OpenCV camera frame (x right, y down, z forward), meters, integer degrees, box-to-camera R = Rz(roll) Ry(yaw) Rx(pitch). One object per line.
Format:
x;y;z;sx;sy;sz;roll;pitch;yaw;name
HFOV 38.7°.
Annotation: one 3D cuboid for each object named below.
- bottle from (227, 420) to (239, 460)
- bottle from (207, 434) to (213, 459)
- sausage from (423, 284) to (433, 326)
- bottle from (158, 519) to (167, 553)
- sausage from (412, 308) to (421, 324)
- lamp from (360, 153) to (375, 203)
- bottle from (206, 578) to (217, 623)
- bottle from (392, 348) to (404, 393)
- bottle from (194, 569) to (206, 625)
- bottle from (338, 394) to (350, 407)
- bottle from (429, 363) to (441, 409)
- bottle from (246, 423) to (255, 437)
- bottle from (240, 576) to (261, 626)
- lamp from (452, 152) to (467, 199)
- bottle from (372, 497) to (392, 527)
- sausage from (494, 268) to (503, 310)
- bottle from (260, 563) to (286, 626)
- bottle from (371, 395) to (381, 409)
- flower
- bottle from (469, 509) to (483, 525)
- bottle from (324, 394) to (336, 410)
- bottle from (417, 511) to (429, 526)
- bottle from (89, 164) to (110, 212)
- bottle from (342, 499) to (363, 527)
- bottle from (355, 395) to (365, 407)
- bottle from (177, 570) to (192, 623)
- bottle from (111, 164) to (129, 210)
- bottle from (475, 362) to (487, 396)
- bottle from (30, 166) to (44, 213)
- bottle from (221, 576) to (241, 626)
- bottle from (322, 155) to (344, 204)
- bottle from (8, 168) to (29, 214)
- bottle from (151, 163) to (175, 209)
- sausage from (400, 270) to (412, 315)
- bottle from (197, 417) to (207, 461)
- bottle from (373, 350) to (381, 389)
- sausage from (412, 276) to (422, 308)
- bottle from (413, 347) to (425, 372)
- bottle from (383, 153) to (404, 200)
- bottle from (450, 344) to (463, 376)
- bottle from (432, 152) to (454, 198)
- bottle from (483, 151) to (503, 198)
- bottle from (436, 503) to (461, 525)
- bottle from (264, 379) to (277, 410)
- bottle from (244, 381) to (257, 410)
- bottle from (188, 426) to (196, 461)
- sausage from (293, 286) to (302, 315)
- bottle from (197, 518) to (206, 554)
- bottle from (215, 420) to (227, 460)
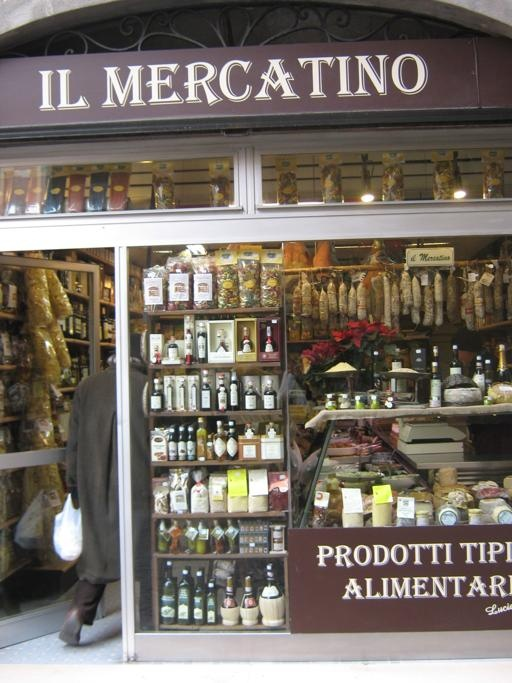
-0.127;0.535;3.946;0.067;0.212;0.030;-2;-3;-10;bottle
-0.246;0.574;3.952;0.035;0.137;0.015;-2;-3;-3;bottle
0.984;-0.209;4.186;0.068;0.235;0.067;-5;9;3;sausage
-0.499;1.055;3.935;0.062;0.172;0.019;-2;-3;-10;bottle
0.924;-0.146;4.203;0.041;0.111;0.049;-1;8;3;sausage
0.596;-0.884;3.950;0.079;0.273;0.030;-2;-3;-16;lamp
-0.233;1.397;3.895;0.058;0.215;0.064;-3;-3;7;bottle
0.755;0.162;3.935;0.073;0.252;0.146;-3;-3;10;bottle
-0.300;1.372;3.901;0.066;0.269;0.064;-3;-3;0;bottle
0.460;0.321;3.870;0.058;0.072;0.063;-1;-3;-35;bottle
0.960;0.229;3.922;0.100;0.241;0.048;0;-4;-39;bottle
-0.043;0.478;3.944;0.070;0.085;0.048;0;-15;-3;bottle
-0.036;1.383;3.864;0.097;0.250;0.046;-2;-3;-6;bottle
1.098;-0.901;3.961;0.064;0.270;0.038;-3;-3;1;lamp
0.670;0.923;3.953;0.130;0.194;0.128;-1;-4;0;bottle
1.373;-0.296;4.108;0.048;0.227;0.064;-2;8;33;sausage
0.076;1.343;3.845;0.117;0.321;0.085;-5;-4;41;bottle
0.626;0.322;3.850;0.064;0.063;0.061;2;-6;-27;bottle
0.476;0.040;3.969;0.395;0.250;0.381;-11;4;-7;flower
1.149;0.926;3.840;0.075;0.077;0.072;-1;1;-19;bottle
0.398;0.320;3.879;0.056;0.081;0.101;-3;-2;6;bottle
0.877;0.937;3.849;0.070;0.106;0.068;-2;-1;0;bottle
-0.868;-0.847;4.020;0.117;0.255;0.039;-3;-3;7;bottle
0.506;0.915;3.892;0.155;0.178;0.100;0;-16;2;bottle
0.546;0.318;3.847;0.058;0.087;0.062;0;-5;0;bottle
-0.382;1.368;3.907;0.081;0.274;0.055;-2;-3;-4;bottle
-0.743;-0.856;4.017;0.119;0.255;0.039;-2;-3;-4;bottle
1.209;0.204;3.954;0.070;0.173;0.040;-3;-3;11;bottle
-1.203;-0.842;4.043;0.076;0.256;0.020;-3;-3;1;bottle
-0.138;1.389;3.869;0.101;0.243;0.045;-2;-3;-11;bottle
0.408;-0.888;3.966;0.112;0.258;0.021;-3;-3;4;bottle
-1.313;-0.833;4.044;0.131;0.259;0.049;-3;-3;12;bottle
-0.506;-0.855;3.992;0.124;0.254;0.046;-2;-3;-7;bottle
0.846;-0.295;4.120;0.052;0.212;0.067;-2;-3;-15;sausage
-0.293;0.534;3.958;0.065;0.238;0.030;-2;-3;-5;bottle
0.649;0.155;3.931;0.036;0.203;0.024;-3;-3;15;bottle
0.905;-0.283;4.116;0.039;0.171;0.073;-4;-3;31;sausage
0.883;0.098;3.946;0.067;0.131;0.078;-3;-3;19;bottle
0.742;-0.898;3.962;0.122;0.259;0.045;-3;-3;13;bottle
1.080;0.104;3.973;0.068;0.164;0.066;-3;-3;0;bottle
1.019;-0.906;3.973;0.126;0.261;0.030;-3;-3;10;bottle
1.284;-0.912;3.968;0.123;0.261;0.044;-3;-3;10;bottle
1.023;0.923;3.889;0.104;0.093;0.103;-2;-5;6;bottle
0.074;0.290;3.951;0.072;0.159;0.030;-3;-3;0;bottle
-0.030;0.298;3.964;0.064;0.152;0.028;-2;-3;-2;bottle
-0.348;0.554;3.959;0.048;0.191;0.022;-2;-3;-8;bottle
0.230;-0.226;4.092;0.025;0.160;0.081;-5;-4;38;sausage
-0.287;1.061;3.939;0.073;0.170;0.010;-2;-3;-1;bottle
-0.195;0.537;3.950;0.063;0.210;0.021;-2;-3;-5;bottle
